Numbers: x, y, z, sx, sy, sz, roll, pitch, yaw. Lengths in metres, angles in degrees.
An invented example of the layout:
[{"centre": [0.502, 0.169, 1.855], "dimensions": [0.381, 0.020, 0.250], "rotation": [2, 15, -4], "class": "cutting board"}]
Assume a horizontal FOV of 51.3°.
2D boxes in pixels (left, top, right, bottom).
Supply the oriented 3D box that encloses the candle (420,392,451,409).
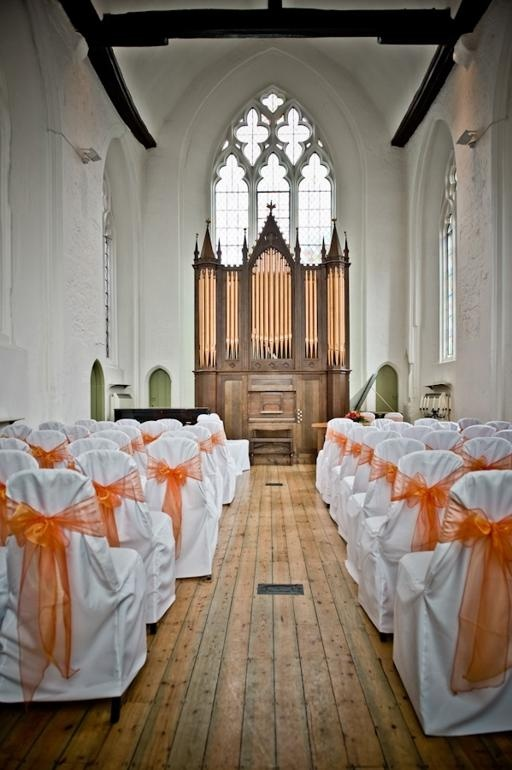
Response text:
[{"centre": [3.003, 0.279, 8.917], "dimensions": [0.238, 0.328, 0.880], "rotation": [0, 0, -5], "class": "candle"}]
